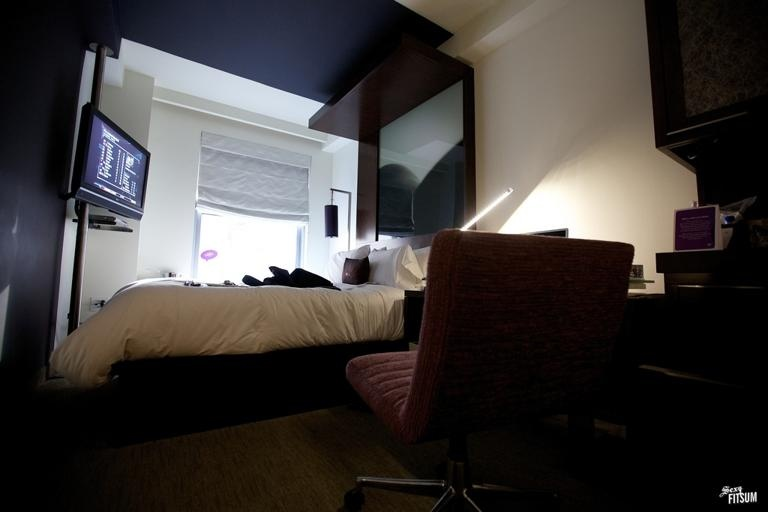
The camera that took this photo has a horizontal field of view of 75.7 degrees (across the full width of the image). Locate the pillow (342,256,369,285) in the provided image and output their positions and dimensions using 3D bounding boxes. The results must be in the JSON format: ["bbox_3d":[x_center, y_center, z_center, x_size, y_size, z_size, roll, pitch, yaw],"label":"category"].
[{"bbox_3d":[-0.268,0.148,4.788,0.089,0.187,0.253,-1,-5,-29],"label":"pillow"}]

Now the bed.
[{"bbox_3d":[-1.086,0.688,3.932,2.337,0.995,1.443,3,-2,-29],"label":"bed"}]

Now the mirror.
[{"bbox_3d":[0.375,-1.017,5.258,0.179,1.760,1.513,3,0,-39],"label":"mirror"}]

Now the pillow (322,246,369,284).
[{"bbox_3d":[-0.403,0.069,5.360,0.125,0.412,0.427,23,-18,-32],"label":"pillow"}]
